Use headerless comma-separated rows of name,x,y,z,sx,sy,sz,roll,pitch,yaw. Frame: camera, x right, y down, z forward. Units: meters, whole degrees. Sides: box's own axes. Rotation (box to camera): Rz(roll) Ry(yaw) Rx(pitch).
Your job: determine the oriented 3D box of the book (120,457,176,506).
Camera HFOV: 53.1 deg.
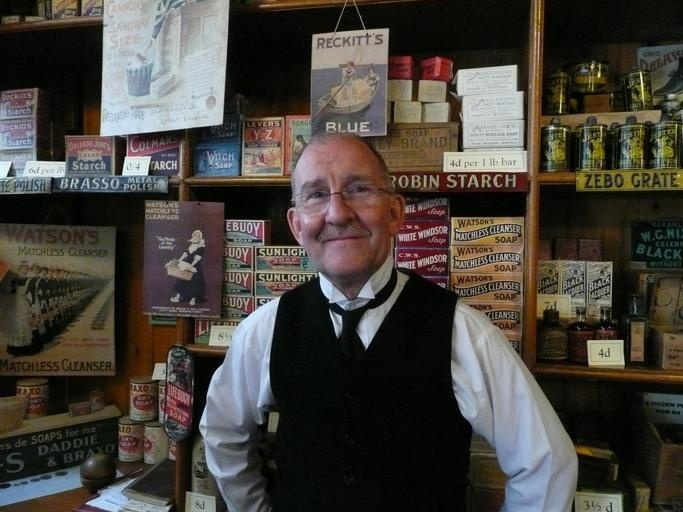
book,-0.853,1.047,3.160,0.237,0.123,0.297,0,-1,3
